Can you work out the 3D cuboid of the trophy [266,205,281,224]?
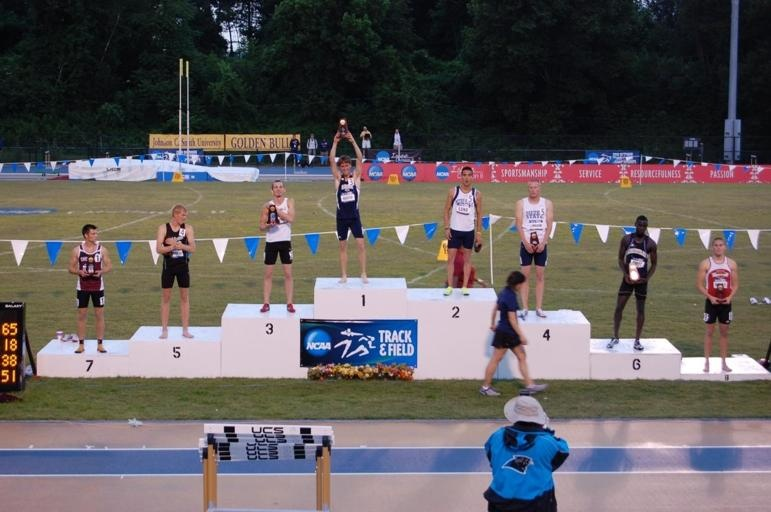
[{"bbox_3d":[-5.983,-2.215,93.197,0.992,1.250,0.433,0,12,2],"label":"trophy"}]

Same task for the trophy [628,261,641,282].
[{"bbox_3d":[13.129,0.797,92.982,0.554,0.982,0.210,-1,5,6],"label":"trophy"}]

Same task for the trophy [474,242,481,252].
[{"bbox_3d":[4.831,-0.452,93.597,0.383,0.440,0.476,1,-3,28],"label":"trophy"}]

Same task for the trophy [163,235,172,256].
[{"bbox_3d":[-11.580,-0.505,92.659,0.679,0.864,0.322,1,1,-45],"label":"trophy"}]
